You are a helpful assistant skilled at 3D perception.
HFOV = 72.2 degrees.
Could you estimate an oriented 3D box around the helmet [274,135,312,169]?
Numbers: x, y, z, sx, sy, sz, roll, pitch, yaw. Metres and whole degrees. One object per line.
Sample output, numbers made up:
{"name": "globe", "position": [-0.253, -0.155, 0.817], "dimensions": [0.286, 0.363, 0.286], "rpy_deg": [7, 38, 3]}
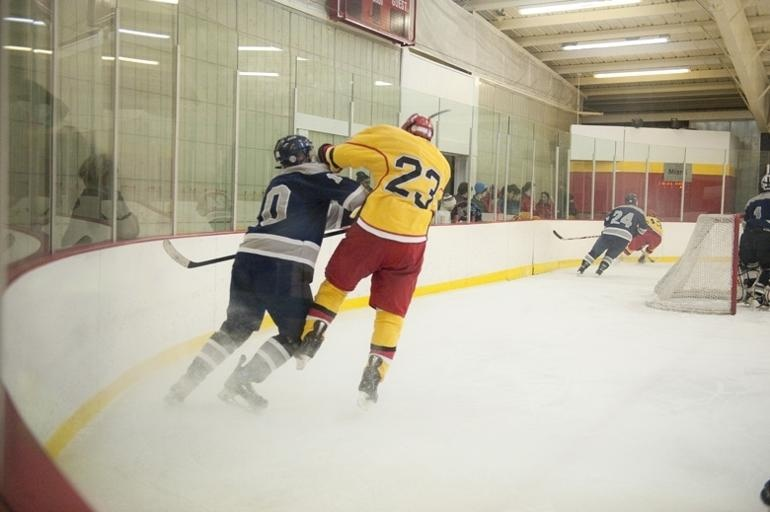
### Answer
{"name": "helmet", "position": [-0.501, -0.555, 2.924], "dimensions": [0.222, 0.230, 0.178], "rpy_deg": [-1, 7, -27]}

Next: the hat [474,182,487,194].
{"name": "hat", "position": [1.096, -0.773, 6.047], "dimensions": [0.076, 0.108, 0.142], "rpy_deg": [47, -17, -12]}

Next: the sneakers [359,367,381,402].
{"name": "sneakers", "position": [-0.083, 0.681, 2.812], "dimensions": [0.105, 0.190, 0.068], "rpy_deg": [12, 17, 5]}

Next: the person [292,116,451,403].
{"name": "person", "position": [-0.033, -0.141, 3.001], "dimensions": [0.806, 1.718, 0.435], "rpy_deg": [21, -21, -9]}

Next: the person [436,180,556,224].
{"name": "person", "position": [1.473, -0.654, 6.450], "dimensions": [1.702, 0.542, 0.294], "rpy_deg": [-2, 11, -39]}

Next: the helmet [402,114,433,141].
{"name": "helmet", "position": [0.178, -0.720, 3.005], "dimensions": [0.117, 0.097, 0.170], "rpy_deg": [21, 6, -13]}

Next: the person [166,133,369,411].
{"name": "person", "position": [-0.600, 0.165, 2.768], "dimensions": [0.935, 1.323, 0.274], "rpy_deg": [5, 8, -3]}
